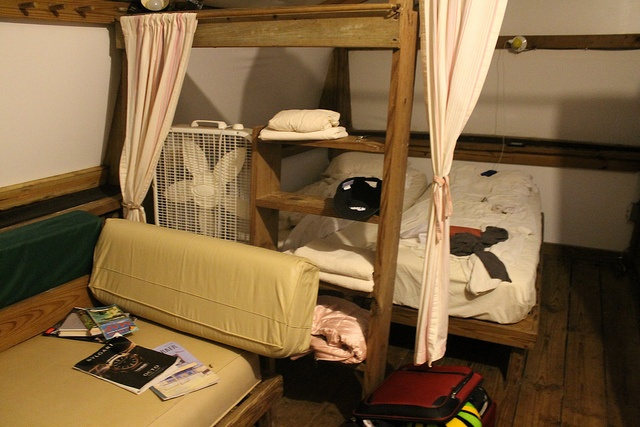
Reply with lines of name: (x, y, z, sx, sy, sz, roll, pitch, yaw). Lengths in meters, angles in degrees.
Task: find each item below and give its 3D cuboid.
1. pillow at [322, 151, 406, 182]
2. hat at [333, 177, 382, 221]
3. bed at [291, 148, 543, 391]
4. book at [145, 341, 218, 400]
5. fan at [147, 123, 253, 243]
pillow: (0.342, -0.484, 4.745, 0.528, 0.134, 0.434, -1, 41, 9)
hat: (0.219, -0.109, 2.713, 0.266, 0.223, 0.329, 5, 22, 3)
bed: (1.089, 0.250, 3.702, 1.648, 0.537, 2.259, 3, 11, 18)
book: (-0.685, 0.778, 2.307, 0.206, 0.031, 0.275, -12, 24, -42)
fan: (-0.768, -0.212, 3.028, 0.686, 0.737, 0.263, 12, 24, 13)
